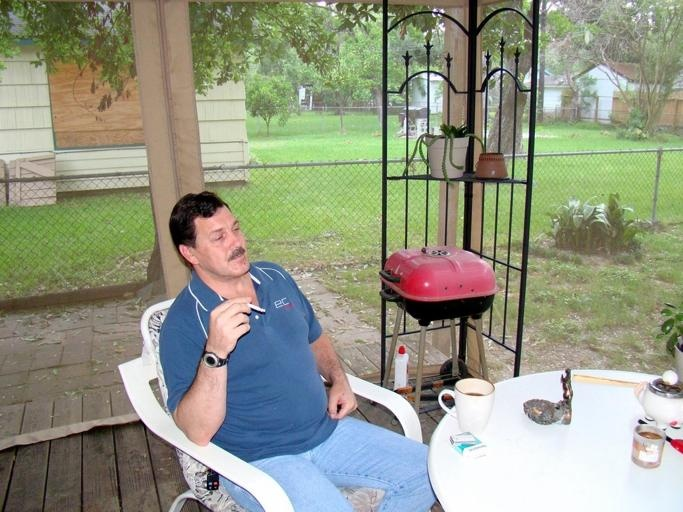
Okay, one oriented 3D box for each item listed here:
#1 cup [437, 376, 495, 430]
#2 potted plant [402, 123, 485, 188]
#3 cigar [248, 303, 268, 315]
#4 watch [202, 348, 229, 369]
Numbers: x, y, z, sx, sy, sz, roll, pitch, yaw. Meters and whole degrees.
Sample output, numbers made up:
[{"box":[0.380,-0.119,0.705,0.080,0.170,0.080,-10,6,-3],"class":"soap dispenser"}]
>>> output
[{"box":[0.431,0.482,1.690,0.209,0.163,0.158,6,13,34],"class":"cup"},{"box":[0.617,-0.646,3.067,0.351,0.328,0.246,8,17,27],"class":"potted plant"},{"box":[-0.315,0.194,1.833,0.031,0.035,0.132,-30,-20,10],"class":"cigar"},{"box":[-0.445,0.360,1.719,0.064,0.035,0.064,16,-22,5],"class":"watch"}]
